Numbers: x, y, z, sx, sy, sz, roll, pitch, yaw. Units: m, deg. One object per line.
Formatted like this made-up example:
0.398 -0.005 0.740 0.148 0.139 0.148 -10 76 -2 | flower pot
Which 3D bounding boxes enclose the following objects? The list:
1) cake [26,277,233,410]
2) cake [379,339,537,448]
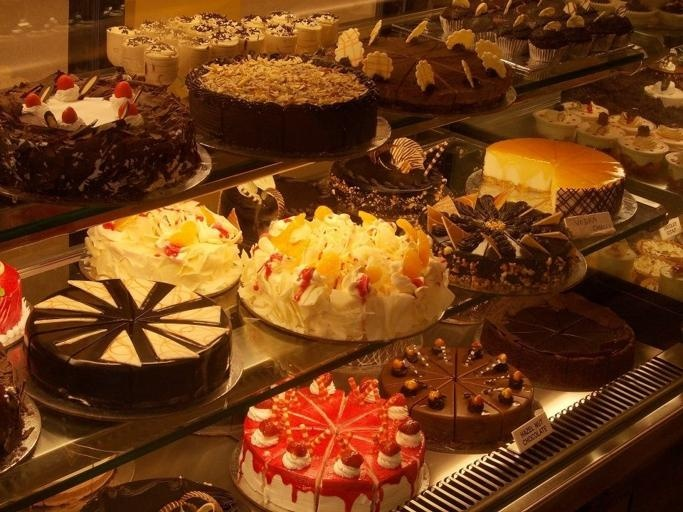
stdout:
-0.572 0.204 1.442 0.531 0.192 0.505 -1 38 -5 | cake
0.520 0.604 2.299 0.543 0.167 0.493 3 30 7 | cake
